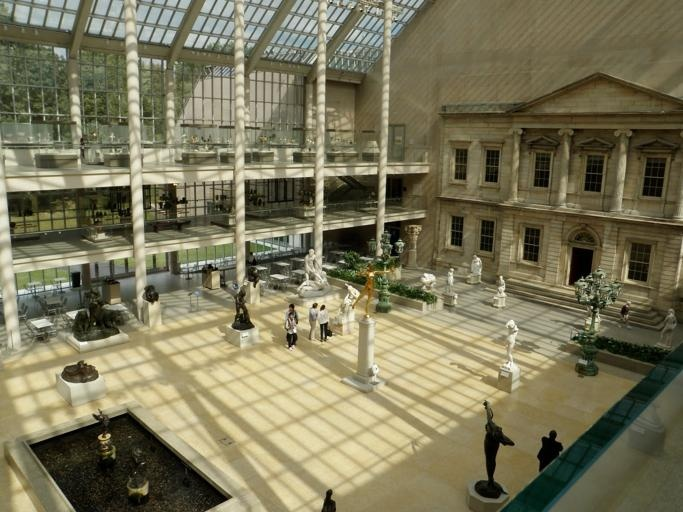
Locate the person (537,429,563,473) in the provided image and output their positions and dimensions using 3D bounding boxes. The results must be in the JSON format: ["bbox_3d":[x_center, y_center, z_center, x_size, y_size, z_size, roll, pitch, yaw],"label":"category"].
[{"bbox_3d":[4.928,4.572,11.733,0.476,1.276,1.286,0,11,23],"label":"person"}]

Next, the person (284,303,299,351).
[{"bbox_3d":[-2.005,2.766,19.811,0.509,1.813,0.635,-7,11,-7],"label":"person"}]

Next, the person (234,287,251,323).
[{"bbox_3d":[-4.106,1.977,20.166,0.538,1.503,0.751,-8,12,-13],"label":"person"}]

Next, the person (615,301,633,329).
[{"bbox_3d":[13.340,2.634,23.376,0.504,1.033,1.531,1,12,30],"label":"person"}]

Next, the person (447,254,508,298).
[{"bbox_3d":[8.074,1.198,29.009,0.726,1.338,2.410,-6,13,-37],"label":"person"}]
